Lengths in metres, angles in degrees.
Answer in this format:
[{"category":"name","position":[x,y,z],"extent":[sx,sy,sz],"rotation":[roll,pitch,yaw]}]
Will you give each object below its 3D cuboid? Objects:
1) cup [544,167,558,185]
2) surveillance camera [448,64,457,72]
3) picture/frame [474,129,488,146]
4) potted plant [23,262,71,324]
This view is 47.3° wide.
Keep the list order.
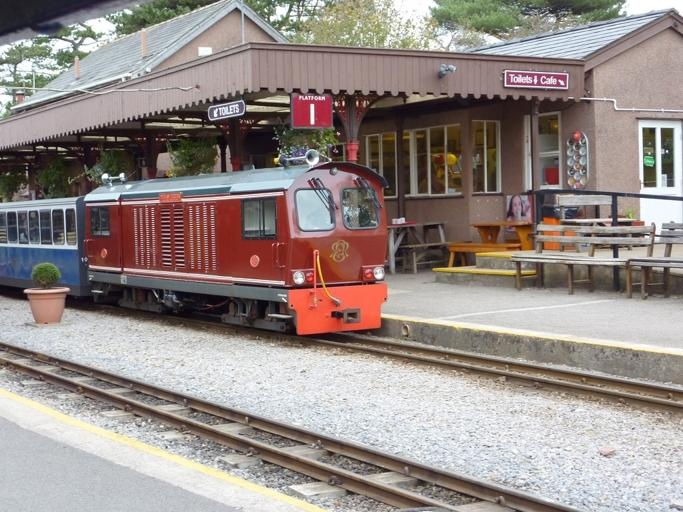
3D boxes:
[{"category":"cup","position":[5.624,-2.153,20.910],"extent":[0.441,0.446,0.450],"rotation":[1,-3,0]},{"category":"surveillance camera","position":[2.564,-4.342,17.942],"extent":[0.126,0.164,0.413],"rotation":[0,7,19]},{"category":"picture/frame","position":[3.885,-3.350,21.790],"extent":[0.535,0.636,0.073],"rotation":[0,2,-15]},{"category":"potted plant","position":[-6.078,0.715,16.202],"extent":[0.913,1.074,0.850],"rotation":[-4,0,20]}]
